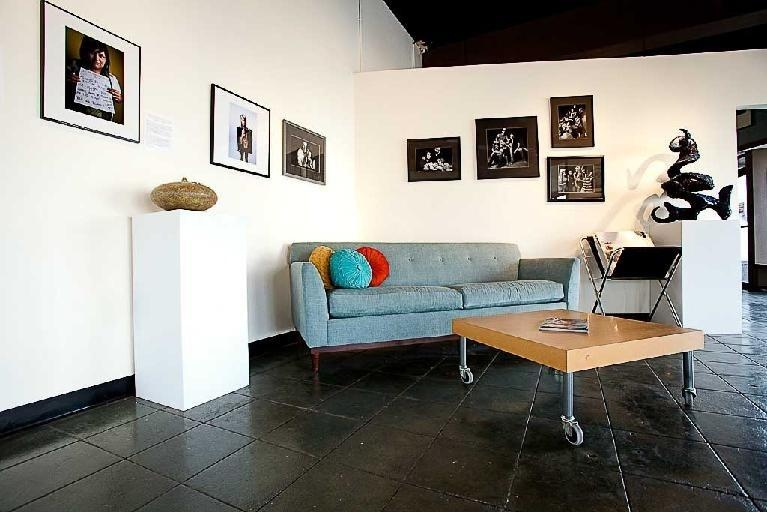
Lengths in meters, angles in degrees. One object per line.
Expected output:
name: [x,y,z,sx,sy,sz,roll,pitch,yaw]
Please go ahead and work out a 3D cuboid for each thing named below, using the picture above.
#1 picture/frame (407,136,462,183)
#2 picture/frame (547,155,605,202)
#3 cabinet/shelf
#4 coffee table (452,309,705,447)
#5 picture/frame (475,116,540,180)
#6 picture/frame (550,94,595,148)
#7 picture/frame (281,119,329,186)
picture/frame: [0.624,-1.121,5.895,0.580,0.440,0.026,0,-5,4]
picture/frame: [2.259,-0.878,5.751,0.572,0.467,0.039,0,-2,4]
cabinet/shelf: [2.652,0.315,5.316,0.784,0.752,0.873,-10,-38,25]
coffee table: [1.389,0.780,3.515,1.692,0.635,1.019,-1,7,-2]
picture/frame: [1.484,-1.233,5.826,0.785,0.717,0.034,0,-5,2]
picture/frame: [2.217,-1.538,5.772,0.654,0.752,0.034,0,-3,5]
picture/frame: [-0.845,-1.066,5.171,0.080,0.644,0.803,-3,-6,32]
